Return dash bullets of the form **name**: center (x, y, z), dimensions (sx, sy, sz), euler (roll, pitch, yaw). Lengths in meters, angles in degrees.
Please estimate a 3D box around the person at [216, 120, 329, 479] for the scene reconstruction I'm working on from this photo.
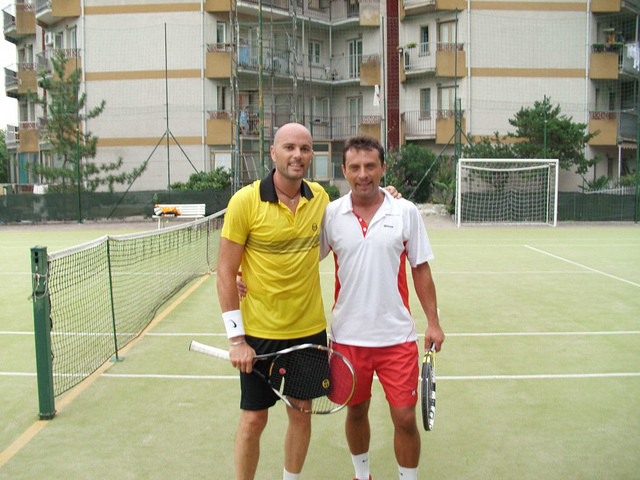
- **person**: center (-0.423, 0.540, 6.303), dimensions (1.003, 3.176, 0.458), euler (-1, 6, -13)

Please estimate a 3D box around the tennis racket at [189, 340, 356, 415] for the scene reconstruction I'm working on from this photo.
- **tennis racket**: center (-0.385, 1.159, 6.277), dimensions (1.552, 0.791, 0.272), euler (16, -9, -10)

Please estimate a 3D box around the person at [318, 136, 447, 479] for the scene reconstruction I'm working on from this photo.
- **person**: center (0.538, 0.659, 6.387), dimensions (1.065, 3.203, 0.495), euler (1, 5, 10)
